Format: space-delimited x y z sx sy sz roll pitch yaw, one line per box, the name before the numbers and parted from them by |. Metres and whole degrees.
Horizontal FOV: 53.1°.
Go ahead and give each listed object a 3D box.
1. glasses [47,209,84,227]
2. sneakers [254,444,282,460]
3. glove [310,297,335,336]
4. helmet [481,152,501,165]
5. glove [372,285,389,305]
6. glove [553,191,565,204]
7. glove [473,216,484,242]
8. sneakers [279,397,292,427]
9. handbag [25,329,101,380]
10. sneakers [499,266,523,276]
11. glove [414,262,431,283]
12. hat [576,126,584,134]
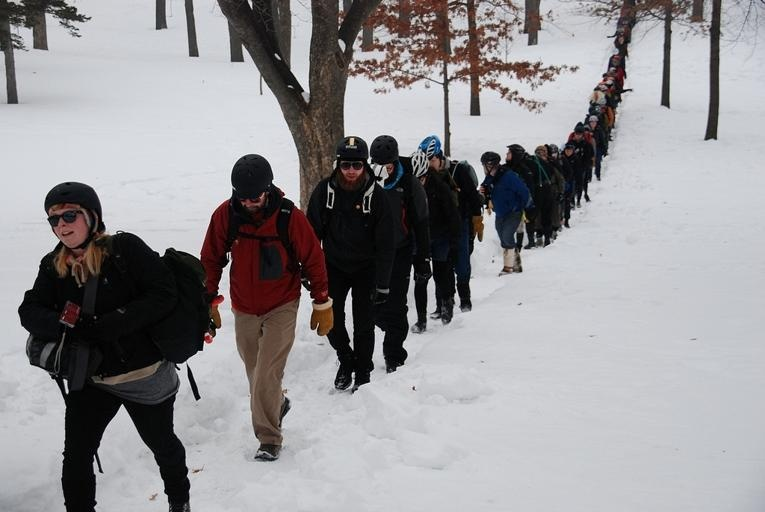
glasses | -3.179 -0.374 7.664 0.364 0.165 0.110 -4 13 6
sneakers | -1.321 2.305 8.921 0.301 0.136 0.137 11 -17 -35
glove | -0.709 0.757 9.287 0.306 0.429 0.425 0 -4 -4
helmet | 2.009 -1.802 14.065 0.251 0.277 0.294 -17 1 -32
glove | 0.010 0.527 9.935 0.171 0.207 0.221 2 -13 41
glove | 3.862 -1.288 16.772 0.180 0.252 0.244 8 6 -20
glove | 1.555 -0.437 12.235 0.099 0.360 0.235 1 0 9
sneakers | -1.191 1.938 9.452 0.135 0.321 0.108 18 0 1
handbag | -3.195 1.021 7.661 0.750 0.444 0.185 -3 13 10
sneakers | 2.370 0.281 14.074 0.473 0.187 0.161 -2 4 -6
glove | 0.596 0.222 10.987 0.209 0.295 0.293 0 -7 6
hat | 4.848 -3.119 18.883 0.188 0.200 0.436 -1 14 18
